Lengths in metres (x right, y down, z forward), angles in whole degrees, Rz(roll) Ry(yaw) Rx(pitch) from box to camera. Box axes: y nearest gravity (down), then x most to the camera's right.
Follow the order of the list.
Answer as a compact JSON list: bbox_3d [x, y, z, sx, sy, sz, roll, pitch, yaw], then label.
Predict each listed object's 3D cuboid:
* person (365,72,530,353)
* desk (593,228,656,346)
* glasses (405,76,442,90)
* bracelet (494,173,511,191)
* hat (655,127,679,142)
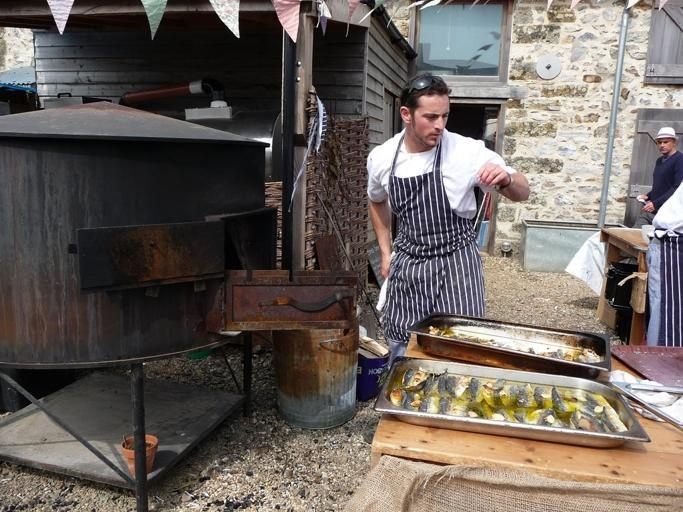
[{"bbox_3d":[0.499,-0.225,3.210,0.967,1.605,0.547,16,23,41],"label":"person"},{"bbox_3d":[2.803,0.306,5.402,0.544,1.017,1.165,0,10,9],"label":"desk"},{"bbox_3d":[0.439,-0.942,2.974,0.112,0.034,0.116,-15,0,-40],"label":"glasses"},{"bbox_3d":[0.853,-0.390,2.882,0.041,0.084,0.110,48,36,20],"label":"bracelet"},{"bbox_3d":[4.476,-1.683,7.524,0.320,0.141,0.372,3,11,41],"label":"hat"}]
